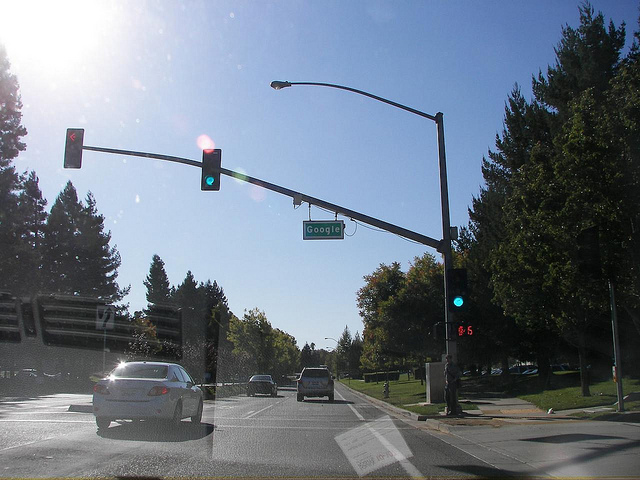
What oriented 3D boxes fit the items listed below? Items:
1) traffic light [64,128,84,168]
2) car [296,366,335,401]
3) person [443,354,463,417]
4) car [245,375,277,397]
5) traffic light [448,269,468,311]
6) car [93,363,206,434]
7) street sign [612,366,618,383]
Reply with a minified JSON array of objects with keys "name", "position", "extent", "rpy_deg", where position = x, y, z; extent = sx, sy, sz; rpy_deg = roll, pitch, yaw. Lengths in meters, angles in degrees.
[{"name":"traffic light","position":[-7.709,-3.035,17.286],"extent":[0.513,1.271,1.275],"rpy_deg":[7,-14,-26]},{"name":"car","position":[-0.298,9.439,36.236],"extent":[2.193,2.276,3.254],"rpy_deg":[2,-14,-4]},{"name":"person","position":[5.007,5.478,20.683],"extent":[0.578,2.247,1.344],"rpy_deg":[-1,-12,12]},{"name":"car","position":[-4.492,11.200,42.214],"extent":[2.137,1.604,2.075],"rpy_deg":[5,-14,-14]},{"name":"traffic light","position":[4.956,1.727,19.725],"extent":[0.682,1.829,0.444],"rpy_deg":[-2,28,13]},{"name":"car","position":[-4.690,4.682,16.293],"extent":[1.331,1.379,3.432],"rpy_deg":[-2,-15,6]},{"name":"street sign","position":[10.815,4.922,20.147],"extent":[0.051,0.572,0.786],"rpy_deg":[-3,-15,20]}]
